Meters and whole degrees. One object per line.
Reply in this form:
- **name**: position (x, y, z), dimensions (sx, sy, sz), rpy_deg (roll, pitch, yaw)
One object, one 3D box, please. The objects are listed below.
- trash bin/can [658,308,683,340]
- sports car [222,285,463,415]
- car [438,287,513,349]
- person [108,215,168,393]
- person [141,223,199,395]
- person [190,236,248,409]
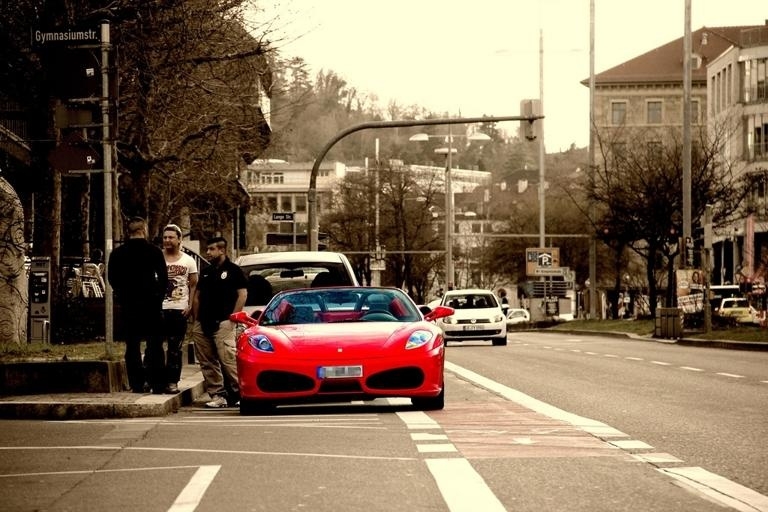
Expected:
- **trash bin/can**: position (10.263, 2.445, 39.641), dimensions (0.918, 1.384, 1.359), rpy_deg (2, -6, 2)
- **sports car**: position (-0.593, 1.333, 16.014), dimensions (3.230, 1.880, 1.885), rpy_deg (-1, -4, -10)
- **car**: position (2.837, 1.900, 35.262), dimensions (1.589, 1.502, 4.086), rpy_deg (0, -1, -4)
- **person**: position (-3.666, 0.725, 16.450), dimensions (0.839, 2.663, 0.512), rpy_deg (-1, -3, -12)
- **person**: position (-3.304, 0.770, 17.005), dimensions (0.739, 2.489, 0.820), rpy_deg (0, -1, -6)
- **person**: position (-2.652, 0.972, 16.838), dimensions (1.111, 2.626, 0.840), rpy_deg (1, -1, 32)
